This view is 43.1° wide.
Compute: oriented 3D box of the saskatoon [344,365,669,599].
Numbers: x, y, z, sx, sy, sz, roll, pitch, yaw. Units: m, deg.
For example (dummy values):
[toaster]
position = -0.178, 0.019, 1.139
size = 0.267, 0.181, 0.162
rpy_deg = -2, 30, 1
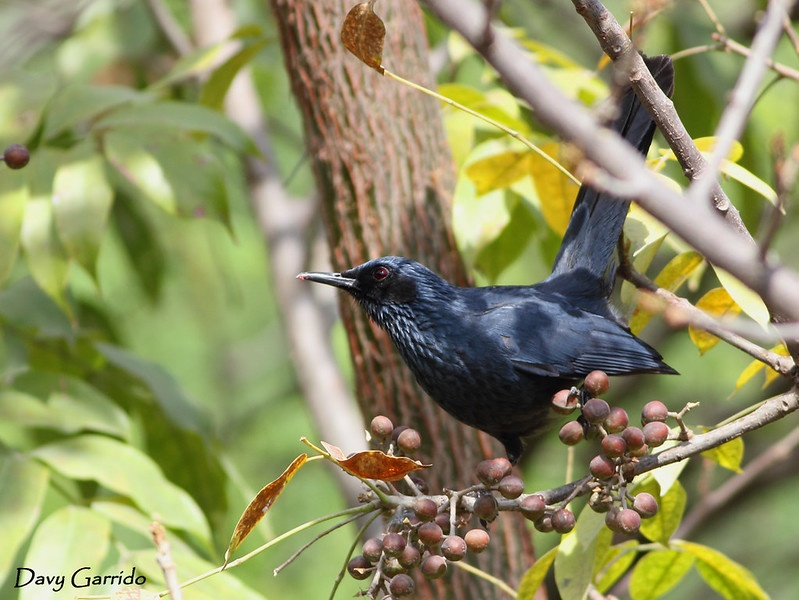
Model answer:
[saskatoon]
position = 0.430, 0.775, 3.939
size = 1.195, 0.557, 0.701
rpy_deg = -17, 8, -23
